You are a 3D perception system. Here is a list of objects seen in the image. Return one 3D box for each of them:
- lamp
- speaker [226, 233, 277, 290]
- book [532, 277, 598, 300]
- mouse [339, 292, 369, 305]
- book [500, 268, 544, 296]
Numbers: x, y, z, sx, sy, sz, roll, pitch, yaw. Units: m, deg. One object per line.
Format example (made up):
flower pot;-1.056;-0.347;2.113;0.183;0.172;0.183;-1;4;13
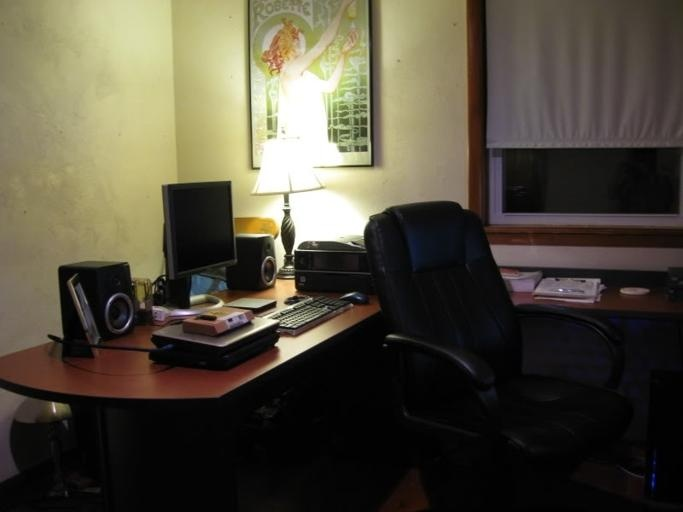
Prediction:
lamp;-0.262;-0.291;3.307;0.310;0.817;0.436;6;14;38
speaker;-0.478;0.029;2.985;0.284;0.368;0.253;0;3;11
book;1.149;0.162;2.819;0.176;0.043;0.180;1;10;30
mouse;0.059;0.198;2.672;0.103;0.036;0.062;4;8;26
book;0.955;0.124;2.939;0.171;0.049;0.175;1;11;17
